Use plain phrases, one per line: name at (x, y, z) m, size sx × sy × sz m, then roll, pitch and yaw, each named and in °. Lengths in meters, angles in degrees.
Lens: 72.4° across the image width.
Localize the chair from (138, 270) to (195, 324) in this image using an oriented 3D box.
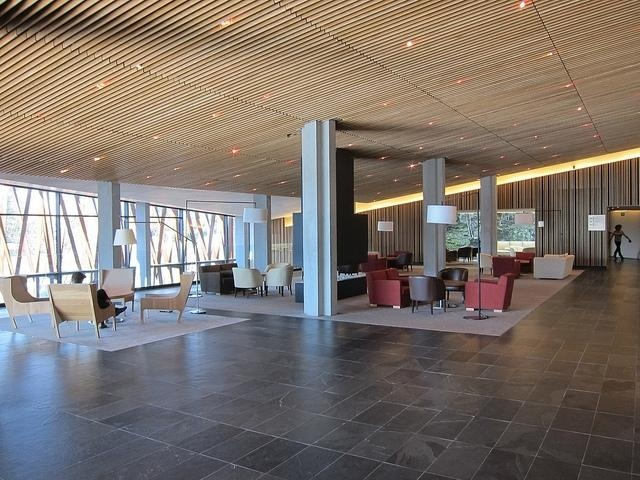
chair at (-2.947, 1.148, 9.229) m, size 1.415 × 1.077 × 0.814 m, roll 2°, pitch -4°, yaw -2°

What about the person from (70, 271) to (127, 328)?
person at (-4.166, 1.297, 7.995) m, size 0.773 × 0.801 × 0.820 m, roll -6°, pitch -2°, yaw 7°
